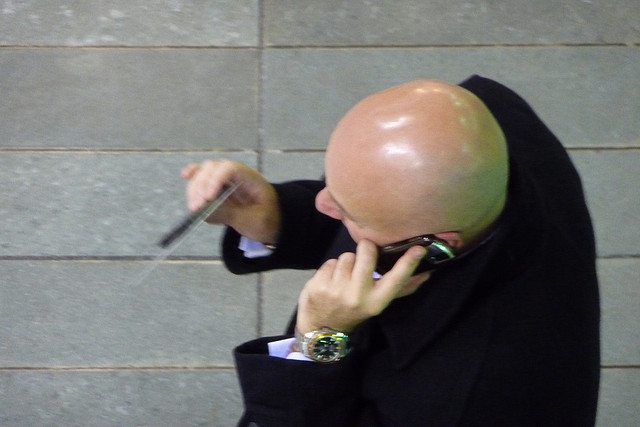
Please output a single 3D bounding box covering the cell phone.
[{"bbox_3d":[0.427,0.176,5.491,0.345,0.151,0.069,-17,43,23],"label":"cell phone"}]
